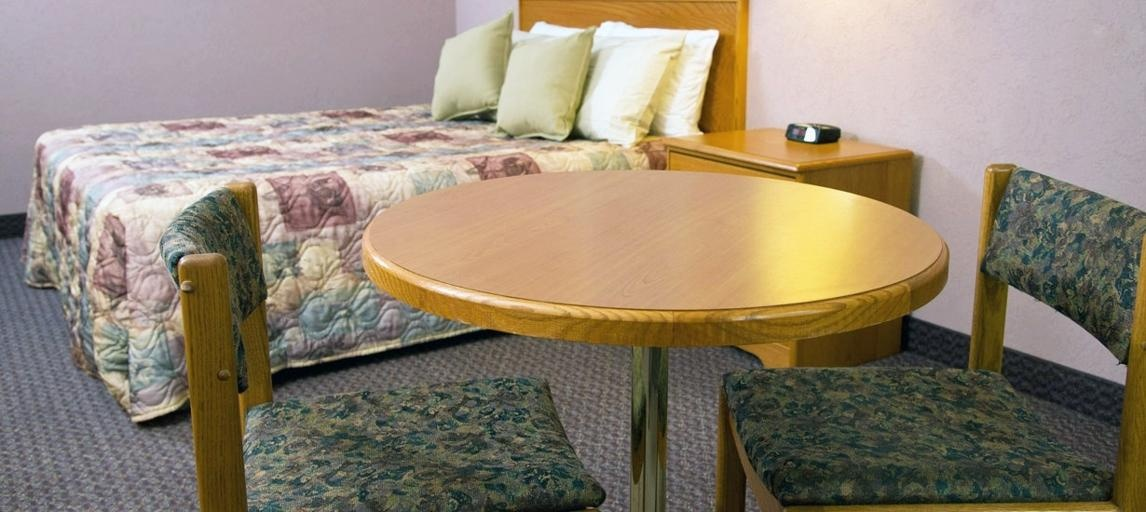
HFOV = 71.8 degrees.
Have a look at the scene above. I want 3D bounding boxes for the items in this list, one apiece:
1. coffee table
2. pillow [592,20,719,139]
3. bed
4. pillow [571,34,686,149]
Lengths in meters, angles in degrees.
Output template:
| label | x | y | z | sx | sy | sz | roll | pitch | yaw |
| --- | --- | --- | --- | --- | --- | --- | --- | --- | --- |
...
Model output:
| label | x | y | z | sx | sy | sz | roll | pitch | yaw |
| --- | --- | --- | --- | --- | --- | --- | --- | --- | --- |
| coffee table | 0.472 | 0.062 | 3.354 | 1.892 | 1.142 | 1.859 | -19 | 27 | -41 |
| pillow | 0.543 | -1.103 | 4.858 | 0.869 | 0.684 | 0.247 | 7 | 6 | 35 |
| bed | -1.091 | -0.283 | 5.126 | 3.793 | 1.571 | 2.699 | -7 | 23 | -25 |
| pillow | 0.311 | -1.045 | 4.918 | 0.816 | 0.661 | 0.234 | 5 | -12 | 35 |
